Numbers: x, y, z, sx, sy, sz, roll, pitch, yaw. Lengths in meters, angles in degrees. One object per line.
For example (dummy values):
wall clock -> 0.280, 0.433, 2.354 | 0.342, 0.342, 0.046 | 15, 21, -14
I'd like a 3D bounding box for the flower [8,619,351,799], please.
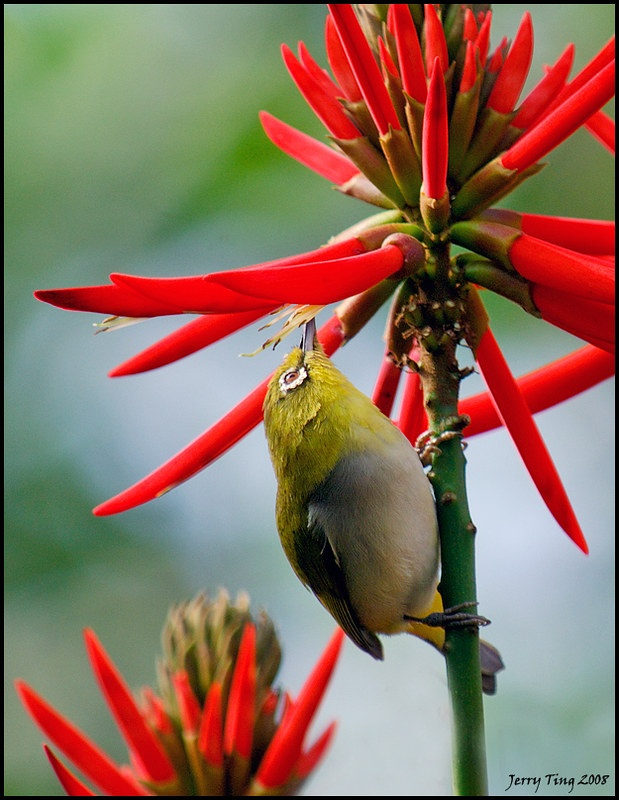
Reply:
flower -> -0.133, 0.341, 1.136 | 0.344, 0.185, 0.138 | -4, -22, 0
